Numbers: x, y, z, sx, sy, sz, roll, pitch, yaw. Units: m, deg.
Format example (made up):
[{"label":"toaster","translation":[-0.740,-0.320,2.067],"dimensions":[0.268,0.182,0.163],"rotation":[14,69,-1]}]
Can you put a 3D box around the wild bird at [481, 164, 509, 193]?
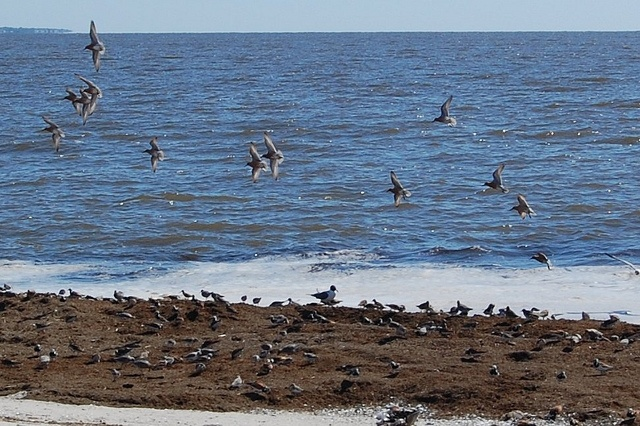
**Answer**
[{"label":"wild bird","translation":[9.791,-1.839,71.184],"dimensions":[1.728,0.443,2.201],"rotation":[-7,-14,-3]}]
